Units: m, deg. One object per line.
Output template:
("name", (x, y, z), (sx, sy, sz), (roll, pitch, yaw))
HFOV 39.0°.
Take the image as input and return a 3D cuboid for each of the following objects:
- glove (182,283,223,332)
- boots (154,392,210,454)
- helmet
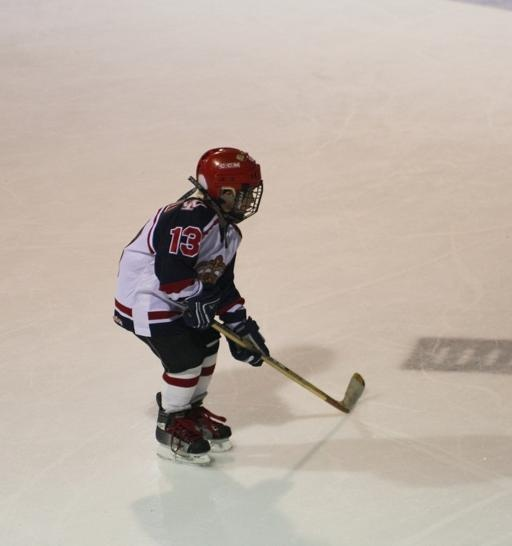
("glove", (-0.218, 0.144, 2.965), (0.174, 0.181, 0.089), (29, 2, -29))
("boots", (-0.312, 0.676, 3.165), (0.170, 0.232, 0.376), (-12, 12, -33))
("helmet", (-0.151, -0.392, 3.099), (0.362, 0.236, 0.237), (3, 18, -19))
